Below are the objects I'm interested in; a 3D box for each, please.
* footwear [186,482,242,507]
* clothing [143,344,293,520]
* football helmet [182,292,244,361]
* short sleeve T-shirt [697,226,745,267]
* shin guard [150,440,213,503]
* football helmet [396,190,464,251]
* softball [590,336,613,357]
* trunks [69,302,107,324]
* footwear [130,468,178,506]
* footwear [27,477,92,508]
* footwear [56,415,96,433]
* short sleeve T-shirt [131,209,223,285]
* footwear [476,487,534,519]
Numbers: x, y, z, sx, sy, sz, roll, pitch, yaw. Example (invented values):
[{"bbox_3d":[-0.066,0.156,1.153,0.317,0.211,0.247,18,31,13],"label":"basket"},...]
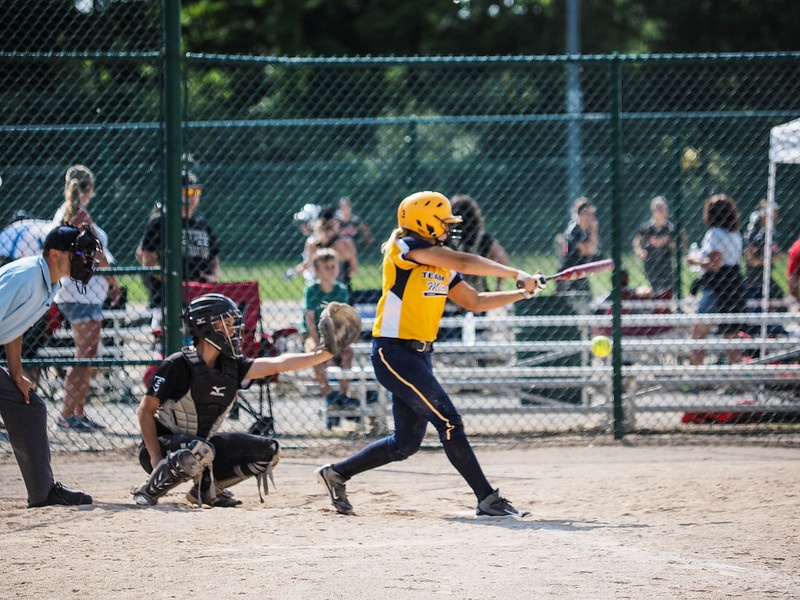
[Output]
[{"bbox_3d":[-1.488,1.581,11.636,0.523,0.224,0.175,2,-2,-6],"label":"footwear"},{"bbox_3d":[-1.583,1.004,11.571,1.129,1.236,0.949,8,5,-38],"label":"clothing"},{"bbox_3d":[-1.506,0.208,11.364,0.518,0.467,0.441,-2,1,-7],"label":"football helmet"},{"bbox_3d":[3.298,-0.555,14.540,0.554,0.495,0.298,-11,14,-31],"label":"short sleeve T-shirt"},{"bbox_3d":[-1.708,1.369,11.424,0.441,0.270,0.672,18,-9,-19],"label":"shin guard"},{"bbox_3d":[0.231,-0.682,11.514,0.490,0.380,0.349,-2,7,-5],"label":"football helmet"},{"bbox_3d":[1.907,0.426,13.485,0.202,0.220,0.189,-15,9,9],"label":"softball"},{"bbox_3d":[-2.964,0.117,13.348,0.241,0.175,0.200,-2,0,5],"label":"trunks"},{"bbox_3d":[-2.033,1.557,11.528,0.507,0.183,0.224,-29,12,41],"label":"footwear"},{"bbox_3d":[-2.798,1.567,11.552,0.581,0.214,0.191,-2,-4,-5],"label":"footwear"},{"bbox_3d":[-3.055,1.149,13.305,0.433,0.172,0.140,3,1,-4],"label":"footwear"},{"bbox_3d":[-2.086,-0.448,13.560,0.864,0.738,0.465,-4,7,-43],"label":"short sleeve T-shirt"},{"bbox_3d":[0.858,1.632,11.473,0.486,0.209,0.164,2,-2,-6],"label":"footwear"}]
